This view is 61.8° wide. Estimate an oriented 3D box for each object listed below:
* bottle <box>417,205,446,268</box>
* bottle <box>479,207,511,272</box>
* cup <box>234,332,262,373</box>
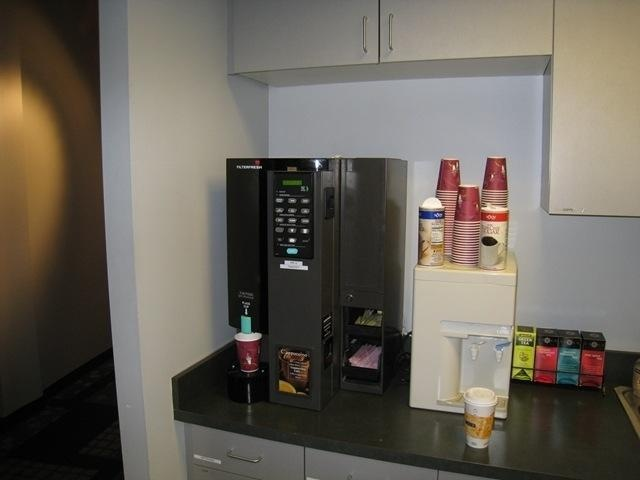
[{"bbox_3d":[0.373,-0.026,1.774,0.085,0.223,0.048,1,6,-6],"label":"bottle"},{"bbox_3d":[0.561,-0.007,1.726,0.087,0.204,0.062,3,6,16],"label":"bottle"},{"bbox_3d":[-0.254,0.397,1.890,0.112,0.130,0.124,0,2,11],"label":"cup"}]
